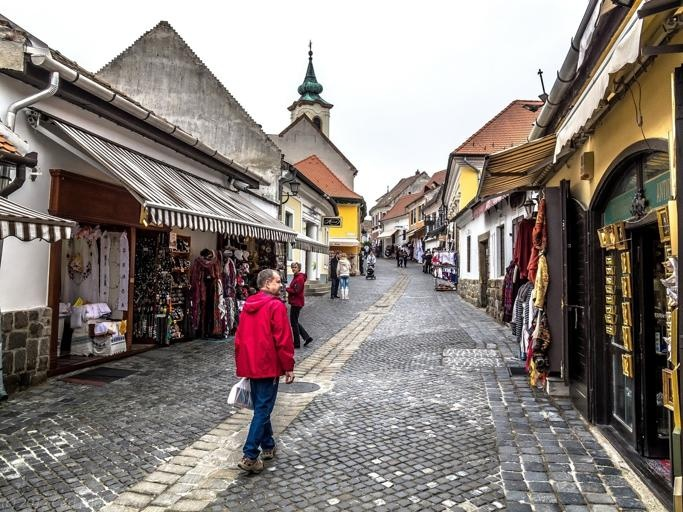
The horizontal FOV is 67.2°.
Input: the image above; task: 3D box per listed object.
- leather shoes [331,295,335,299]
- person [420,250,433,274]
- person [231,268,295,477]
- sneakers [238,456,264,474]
[{"bbox_3d":[-0.371,1.700,20.942,0.091,0.117,0.120,1,-3,12],"label":"leather shoes"},{"bbox_3d":[6.002,0.516,36.020,0.585,1.591,2.289,-1,-4,8],"label":"person"},{"bbox_3d":[-0.778,1.136,5.215,0.566,1.975,0.341,0,-4,-13],"label":"person"},{"bbox_3d":[-0.880,2.039,5.010,0.275,0.137,0.110,5,-1,-19],"label":"sneakers"}]
